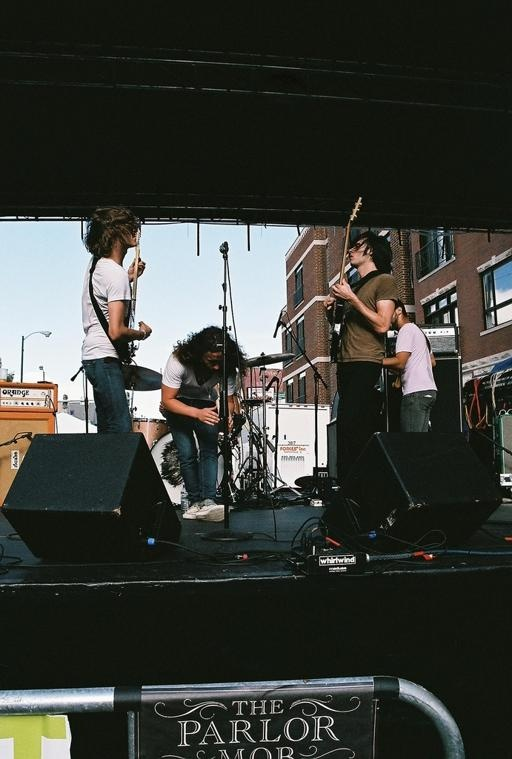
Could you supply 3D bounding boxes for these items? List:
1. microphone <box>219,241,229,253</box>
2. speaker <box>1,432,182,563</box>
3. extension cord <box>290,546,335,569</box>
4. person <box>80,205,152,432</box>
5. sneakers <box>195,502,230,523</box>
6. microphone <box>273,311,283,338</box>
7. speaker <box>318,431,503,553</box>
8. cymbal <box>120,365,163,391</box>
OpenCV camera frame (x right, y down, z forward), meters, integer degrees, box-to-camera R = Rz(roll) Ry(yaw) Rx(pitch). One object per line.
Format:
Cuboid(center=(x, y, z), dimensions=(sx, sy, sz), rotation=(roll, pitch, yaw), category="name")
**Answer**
Cuboid(center=(-0.149, -0.601, 4.047), dimensions=(0.041, 0.056, 0.051), rotation=(-1, -4, -3), category="microphone")
Cuboid(center=(-0.600, 0.426, 3.203), dimensions=(0.536, 0.461, 0.496), rotation=(-2, -4, 0), category="speaker")
Cuboid(center=(0.181, 0.589, 2.938), dimensions=(0.184, 0.075, 0.137), rotation=(-3, -5, 24), category="extension cord")
Cuboid(center=(-0.621, -0.279, 3.873), dimensions=(0.303, 1.021, 0.385), rotation=(-1, -4, -7), category="person")
Cuboid(center=(-0.229, 0.673, 4.468), dimensions=(0.104, 0.089, 0.240), rotation=(-2, -2, -15), category="sneakers")
Cuboid(center=(0.162, -0.399, 6.327), dimensions=(0.050, 0.191, 0.080), rotation=(12, 19, -3), category="microphone")
Cuboid(center=(0.622, 0.416, 3.342), dimensions=(0.460, 0.430, 0.455), rotation=(0, -5, -18), category="speaker")
Cuboid(center=(-0.738, -0.037, 5.734), dimensions=(0.214, 0.076, 0.211), rotation=(23, -33, -35), category="cymbal")
